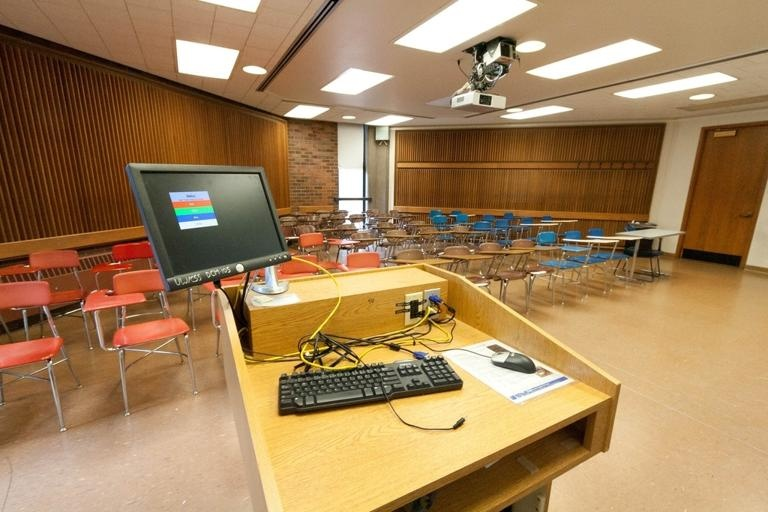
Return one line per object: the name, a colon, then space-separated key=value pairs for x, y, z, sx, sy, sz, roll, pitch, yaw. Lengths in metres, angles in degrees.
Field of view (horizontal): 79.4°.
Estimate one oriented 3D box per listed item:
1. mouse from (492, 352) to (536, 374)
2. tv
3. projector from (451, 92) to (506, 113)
mouse: x=1.083 y=0.880 z=3.836 sx=0.314 sy=0.085 sz=0.168 roll=5 pitch=14 yaw=22
tv: x=-1.401 y=-0.344 z=3.846 sx=0.488 sy=0.934 sz=1.169 roll=14 pitch=19 yaw=38
projector: x=1.390 y=-2.415 z=6.829 sx=0.655 sy=0.260 sz=0.562 roll=-5 pitch=10 yaw=-10
